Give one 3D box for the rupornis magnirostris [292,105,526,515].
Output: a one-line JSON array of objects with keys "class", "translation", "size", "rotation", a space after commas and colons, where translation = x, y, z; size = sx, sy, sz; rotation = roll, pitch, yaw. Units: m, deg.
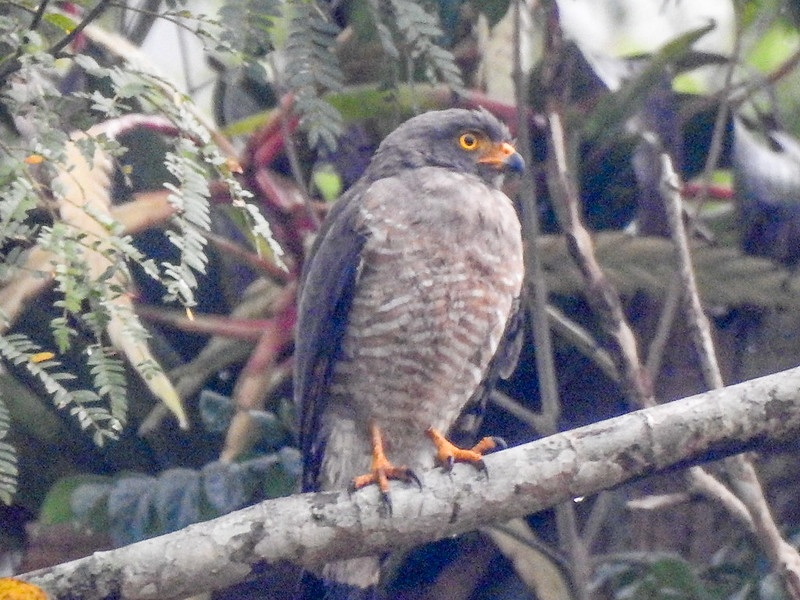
[{"class": "rupornis magnirostris", "translation": [0.041, 0.017, 4.157], "size": [0.809, 0.791, 0.464], "rotation": [-21, 14, -10]}]
